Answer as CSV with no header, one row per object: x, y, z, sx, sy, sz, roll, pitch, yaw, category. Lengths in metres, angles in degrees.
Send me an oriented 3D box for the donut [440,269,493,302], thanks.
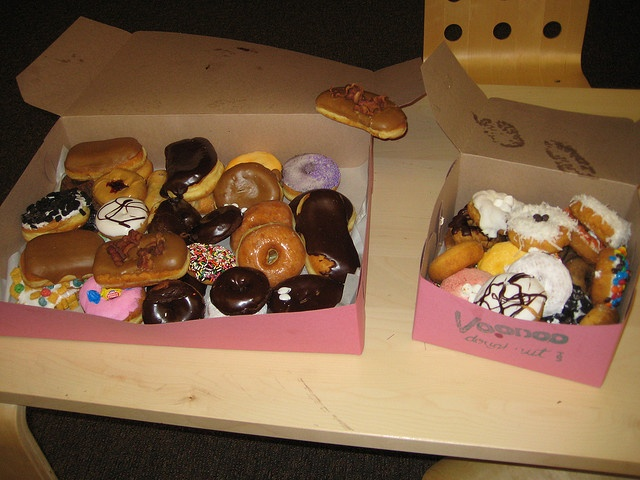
0.344,0.098,1.216,0.092,0.041,0.092,-27,28,-12,donut

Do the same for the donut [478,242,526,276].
0.434,0.047,1.267,0.072,0.053,0.095,-11,21,22,donut

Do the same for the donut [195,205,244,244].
-0.266,-0.026,1.375,0.105,0.037,0.105,-15,26,30,donut

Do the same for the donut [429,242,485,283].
0.332,0.047,1.264,0.107,0.034,0.107,-30,-1,32,donut

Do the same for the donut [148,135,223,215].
-0.366,-0.184,1.488,0.182,0.082,0.237,4,74,18,donut

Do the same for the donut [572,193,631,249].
0.663,-0.040,1.273,0.041,0.119,0.117,-49,50,8,donut

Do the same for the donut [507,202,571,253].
0.522,-0.026,1.266,0.124,0.045,0.115,25,55,31,donut

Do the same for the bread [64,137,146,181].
-0.607,-0.231,1.497,0.178,0.055,0.122,-7,39,-9,bread

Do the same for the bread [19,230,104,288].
-0.643,0.046,1.330,0.172,0.060,0.133,-11,54,-21,bread

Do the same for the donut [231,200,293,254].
-0.147,-0.029,1.439,0.196,0.188,0.066,-34,76,15,donut

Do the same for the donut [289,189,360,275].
0.016,-0.015,1.383,0.177,0.100,0.267,-7,60,-1,donut

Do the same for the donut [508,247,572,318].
0.504,0.100,1.187,0.142,0.051,0.140,1,74,0,donut

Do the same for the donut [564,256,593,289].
0.634,0.084,1.307,0.067,0.022,0.079,15,48,-13,donut

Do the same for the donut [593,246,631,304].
0.652,0.080,1.199,0.046,0.089,0.120,9,89,-18,donut

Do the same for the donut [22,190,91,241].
-0.697,-0.072,1.422,0.113,0.045,0.154,29,48,26,donut

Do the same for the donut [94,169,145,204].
-0.553,-0.135,1.468,0.113,0.044,0.109,17,46,12,donut

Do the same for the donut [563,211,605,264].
0.646,-0.011,1.297,0.036,0.108,0.105,-34,51,0,donut

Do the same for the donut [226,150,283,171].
-0.189,-0.233,1.539,0.106,0.039,0.081,-3,41,-3,donut
